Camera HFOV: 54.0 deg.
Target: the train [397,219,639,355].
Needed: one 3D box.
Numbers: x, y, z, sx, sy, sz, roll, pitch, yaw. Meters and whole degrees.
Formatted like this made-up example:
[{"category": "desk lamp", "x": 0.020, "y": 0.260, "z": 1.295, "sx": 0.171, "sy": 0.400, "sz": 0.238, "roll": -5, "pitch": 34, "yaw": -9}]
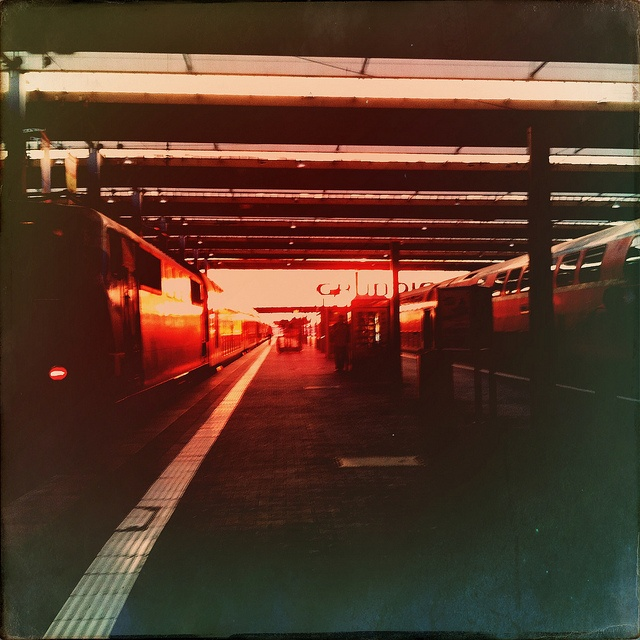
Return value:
[{"category": "train", "x": 4.218, "y": -0.525, "z": 17.832, "sx": 1.598, "sy": 3.362, "sz": 13.915, "roll": -2, "pitch": -5, "yaw": -10}]
